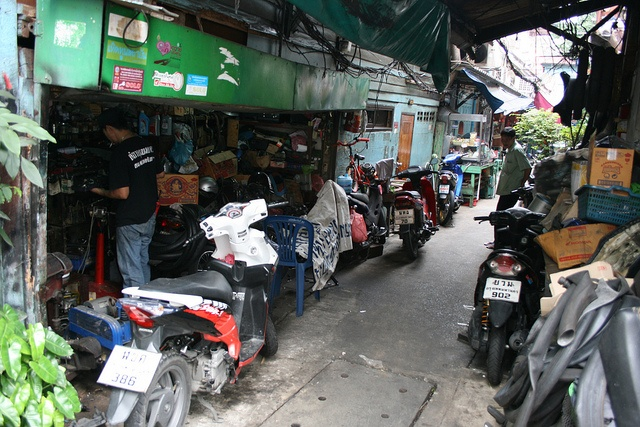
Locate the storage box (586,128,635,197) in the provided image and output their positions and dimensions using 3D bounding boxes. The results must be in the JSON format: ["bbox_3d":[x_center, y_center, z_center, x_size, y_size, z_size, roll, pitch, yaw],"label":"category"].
[{"bbox_3d":[2.906,-0.491,4.611,0.399,0.448,0.237,9,13,33],"label":"storage box"}]

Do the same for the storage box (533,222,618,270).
[{"bbox_3d":[2.633,0.207,4.995,0.704,0.209,0.797,-29,13,38],"label":"storage box"}]

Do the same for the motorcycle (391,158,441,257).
[{"bbox_3d":[1.702,-0.008,8.131,0.759,1.529,1.390,4,11,13],"label":"motorcycle"}]

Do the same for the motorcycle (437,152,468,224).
[{"bbox_3d":[3.383,-0.604,10.977,0.858,1.142,1.807,2,19,14],"label":"motorcycle"}]

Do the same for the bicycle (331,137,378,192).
[{"bbox_3d":[0.742,-0.844,8.336,0.668,0.812,1.184,-8,-3,23],"label":"bicycle"}]
